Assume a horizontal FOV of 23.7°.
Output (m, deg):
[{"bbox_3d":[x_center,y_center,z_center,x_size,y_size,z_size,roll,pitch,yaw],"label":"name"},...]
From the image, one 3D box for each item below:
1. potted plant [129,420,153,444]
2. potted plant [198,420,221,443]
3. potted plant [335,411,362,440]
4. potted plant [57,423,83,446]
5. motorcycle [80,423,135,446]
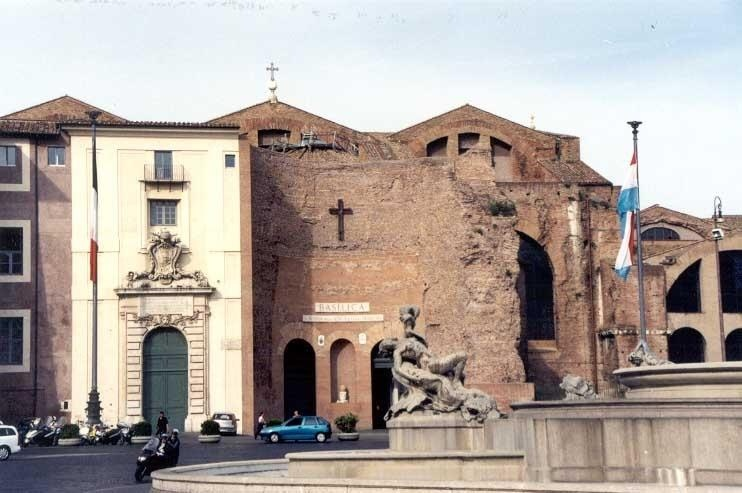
[{"bbox_3d":[-11.785,9.468,90.425,0.989,1.291,1.130,3,-8,-34],"label":"potted plant"},{"bbox_3d":[-8.094,9.387,90.205,1.109,1.017,1.094,-4,-7,14],"label":"potted plant"},{"bbox_3d":[-1.230,9.364,91.440,1.365,1.356,1.325,1,-17,-7],"label":"potted plant"},{"bbox_3d":[-15.177,9.573,89.989,1.039,0.906,1.039,-6,-13,36],"label":"potted plant"},{"bbox_3d":[-13.557,9.526,89.771,2.159,1.064,1.179,1,-3,22],"label":"motorcycle"}]
